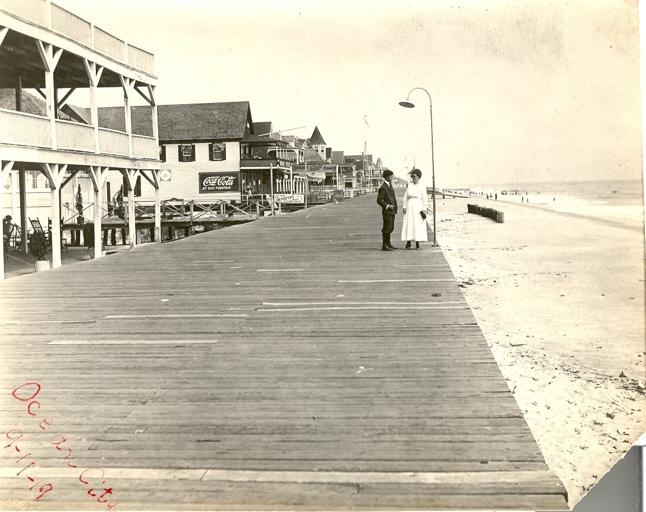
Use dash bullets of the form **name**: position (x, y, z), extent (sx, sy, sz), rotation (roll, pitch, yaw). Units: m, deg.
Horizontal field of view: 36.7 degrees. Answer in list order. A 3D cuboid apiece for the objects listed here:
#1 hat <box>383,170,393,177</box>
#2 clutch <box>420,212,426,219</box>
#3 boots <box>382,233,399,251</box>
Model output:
- **hat**: position (1.561, -1.994, 23.438), extent (0.202, 0.151, 0.154), rotation (-3, 13, 13)
- **clutch**: position (2.399, -0.989, 23.358), extent (0.142, 0.187, 0.276), rotation (-1, 7, 1)
- **boots**: position (1.630, -0.365, 24.083), extent (0.448, 0.586, 0.367), rotation (-2, 7, 5)
